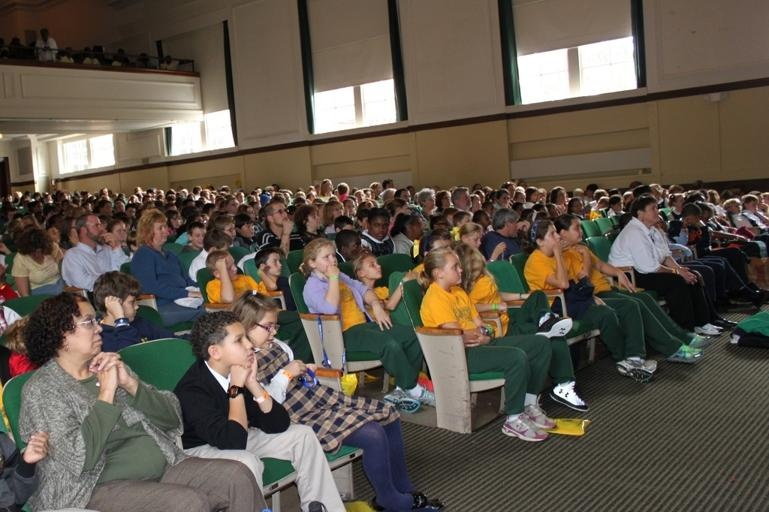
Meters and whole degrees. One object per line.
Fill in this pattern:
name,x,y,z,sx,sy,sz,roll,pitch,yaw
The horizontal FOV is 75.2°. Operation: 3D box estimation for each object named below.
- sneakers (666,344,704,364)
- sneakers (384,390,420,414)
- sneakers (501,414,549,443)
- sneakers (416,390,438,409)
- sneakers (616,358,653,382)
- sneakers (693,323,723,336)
sneakers,2.789,0.914,4.571,0.230,0.099,0.170,-9,4,9
sneakers,0.126,1.136,3.913,0.241,0.091,0.157,19,26,31
sneakers,1.007,1.219,3.564,0.262,0.135,0.176,6,5,12
sneakers,0.326,1.120,3.884,0.137,0.076,0.109,8,-21,-7
sneakers,2.160,0.985,4.349,0.148,0.138,0.328,-2,13,-27
sneakers,3.433,0.776,5.317,0.318,0.153,0.127,-3,2,8
